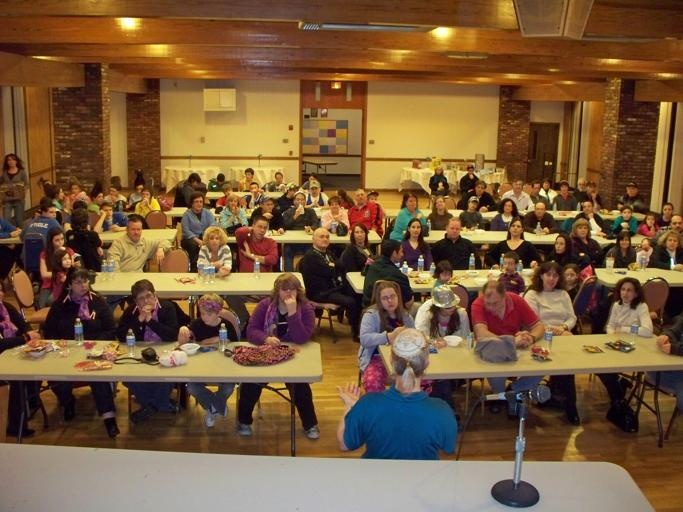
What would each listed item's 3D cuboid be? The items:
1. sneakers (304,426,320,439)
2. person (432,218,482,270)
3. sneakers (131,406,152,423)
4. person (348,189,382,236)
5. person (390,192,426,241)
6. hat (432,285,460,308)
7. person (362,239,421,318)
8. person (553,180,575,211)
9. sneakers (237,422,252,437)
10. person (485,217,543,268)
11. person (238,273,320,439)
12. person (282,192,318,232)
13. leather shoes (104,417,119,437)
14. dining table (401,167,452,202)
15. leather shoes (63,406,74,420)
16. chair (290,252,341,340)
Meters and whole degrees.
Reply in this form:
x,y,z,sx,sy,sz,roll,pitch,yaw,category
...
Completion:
x,y,z,sx,sy,sz,roll,pitch,yaw,category
-0.284,1.741,5.757,0.077,0.077,0.174,-3,3,-24,sneakers
1.743,-0.160,9.244,0.974,0.883,0.528,-3,15,-7,person
-2.047,1.617,6.017,0.210,0.112,0.095,-32,2,-22,sneakers
0.385,-0.769,11.415,0.803,1.000,0.674,-4,-7,6,person
1.044,-0.644,10.188,0.580,0.855,0.697,18,19,33,person
1.063,0.414,5.935,0.281,0.209,0.221,-3,7,-19,hat
0.595,0.271,6.958,0.648,1.073,0.632,-14,23,-34,person
5.071,-1.378,13.331,0.730,0.649,0.458,-6,9,-39,person
-0.968,1.734,5.836,0.079,0.101,0.151,1,-2,-20,sneakers
2.680,-0.212,9.138,0.806,0.757,0.743,3,8,22,person
-0.571,0.956,5.833,0.917,1.506,1.065,-6,5,-33,person
-0.794,-0.836,11.105,0.704,0.729,0.920,-3,3,-29,person
-2.274,1.681,5.783,0.138,0.211,0.084,-18,2,-25,leather shoes
2.938,-2.205,20.970,1.760,0.972,1.875,4,19,2,dining table
-2.824,1.626,6.075,0.071,0.080,0.181,11,12,-13,leather shoes
-0.239,0.630,8.103,0.519,0.752,0.447,4,1,29,chair
